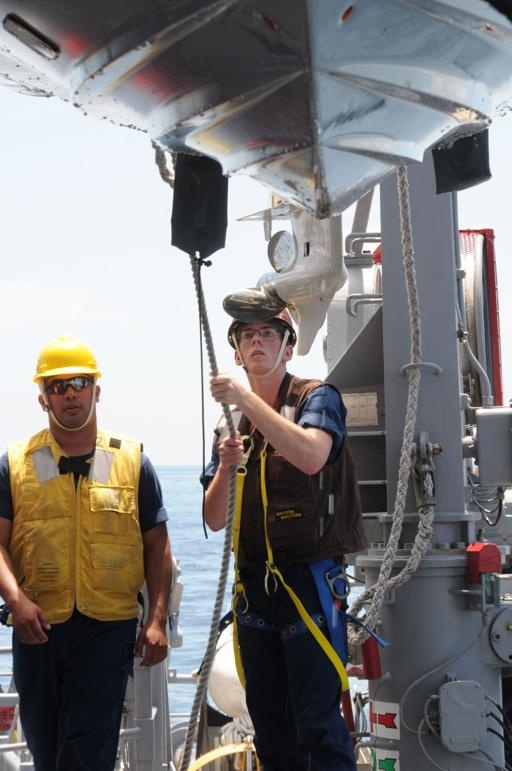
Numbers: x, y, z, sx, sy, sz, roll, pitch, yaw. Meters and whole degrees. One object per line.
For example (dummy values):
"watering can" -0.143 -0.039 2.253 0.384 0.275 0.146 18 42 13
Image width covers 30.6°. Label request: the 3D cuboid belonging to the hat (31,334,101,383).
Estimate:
"hat" -0.733 -0.080 3.607 0.202 0.134 0.253 -3 -16 -9
